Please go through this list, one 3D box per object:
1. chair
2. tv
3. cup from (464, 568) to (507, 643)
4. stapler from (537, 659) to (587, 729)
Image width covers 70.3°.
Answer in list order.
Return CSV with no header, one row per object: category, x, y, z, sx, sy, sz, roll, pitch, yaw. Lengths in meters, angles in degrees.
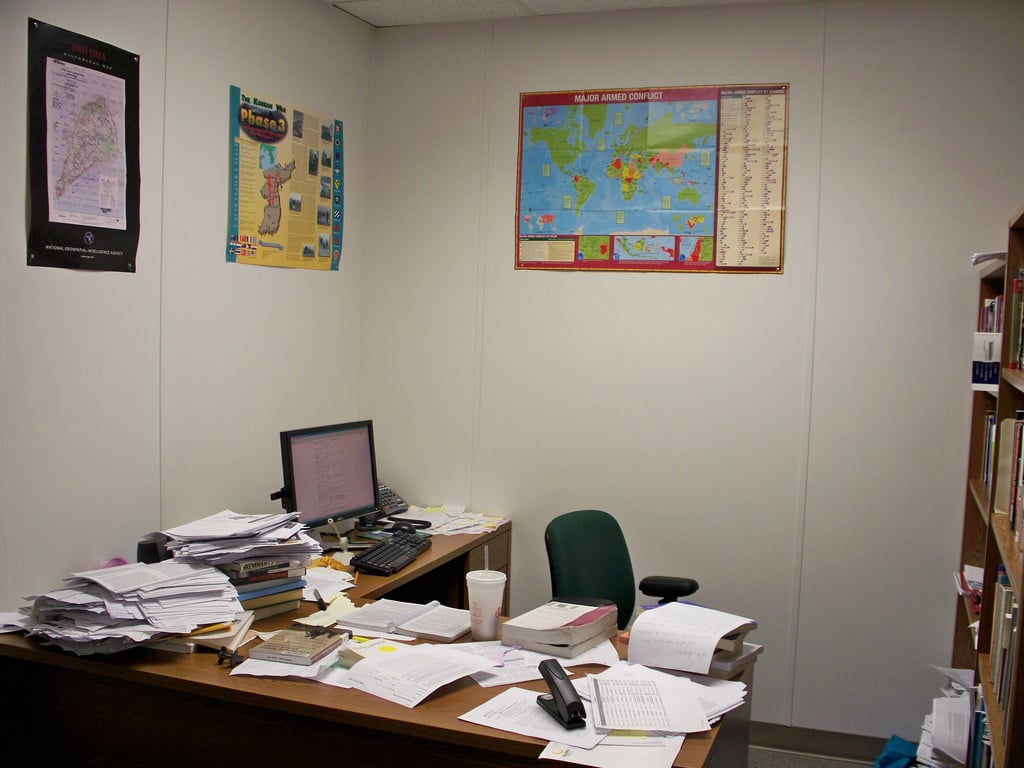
chair,0.409,0.681,3.010,0.528,0.611,0.536,-2,1,33
tv,-0.817,0.434,3.152,0.179,0.490,0.521,-7,-2,30
cup,-0.101,0.700,2.328,0.193,0.213,0.187,0,-2,0
stapler,0.133,0.817,1.897,0.056,0.079,0.187,0,1,-11
